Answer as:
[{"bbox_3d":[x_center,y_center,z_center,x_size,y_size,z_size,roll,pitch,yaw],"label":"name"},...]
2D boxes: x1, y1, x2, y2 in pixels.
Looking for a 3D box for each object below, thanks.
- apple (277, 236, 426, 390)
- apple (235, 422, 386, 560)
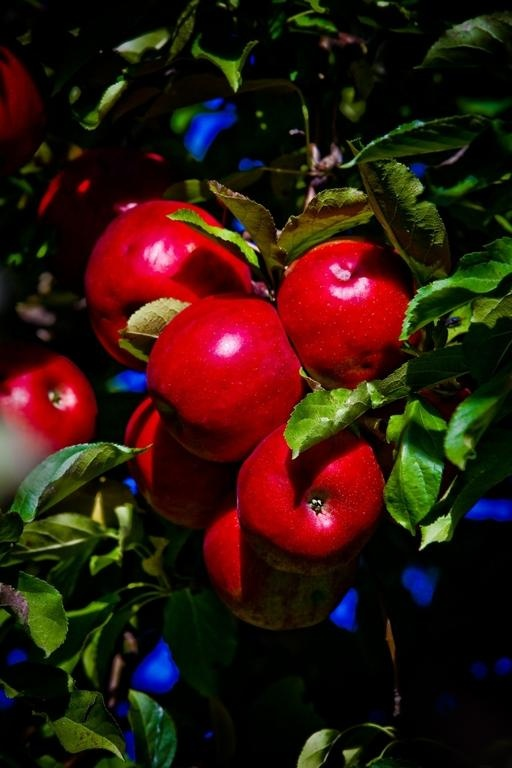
[{"bbox_3d":[0.084,-0.072,0.669,0.130,0.140,0.137,-9,11,1],"label":"apple"},{"bbox_3d":[0.051,0.103,0.678,0.148,0.121,0.144,3,12,21],"label":"apple"}]
